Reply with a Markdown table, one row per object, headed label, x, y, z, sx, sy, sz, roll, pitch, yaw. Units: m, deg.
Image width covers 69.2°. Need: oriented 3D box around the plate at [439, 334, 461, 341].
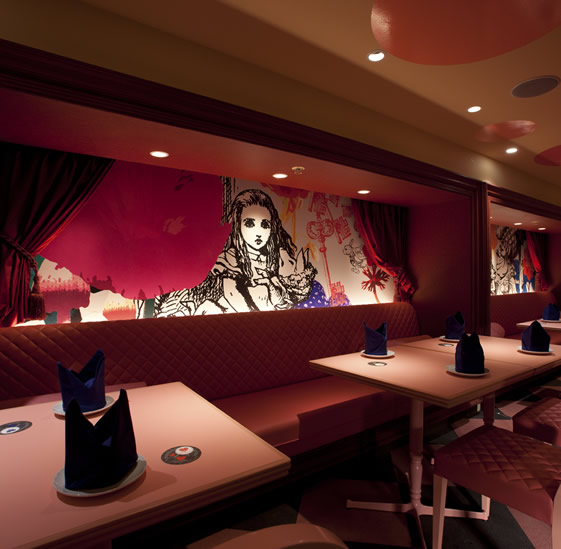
| label | x | y | z | sx | sy | sz | roll | pitch | yaw |
| --- | --- | --- | --- | --- | --- | --- | --- | --- | --- |
| plate | 1.227 | 0.461 | 2.911 | 0.167 | 0.032 | 0.161 | 0 | 1 | -6 |
